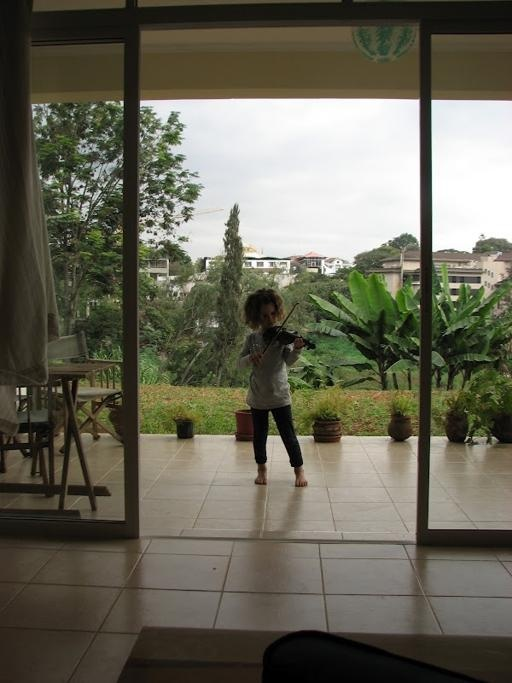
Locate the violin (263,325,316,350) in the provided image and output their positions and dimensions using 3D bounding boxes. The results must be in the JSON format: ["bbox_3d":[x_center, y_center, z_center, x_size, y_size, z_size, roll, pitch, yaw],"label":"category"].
[{"bbox_3d":[0.215,-0.025,3.501,0.308,0.147,0.229,0,0,19],"label":"violin"}]

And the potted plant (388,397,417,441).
[{"bbox_3d":[1.444,0.772,5.374,0.241,0.429,0.292,0,-1,13],"label":"potted plant"}]

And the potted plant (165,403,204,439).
[{"bbox_3d":[-0.705,0.803,5.354,0.306,0.322,0.224,0,-1,-6],"label":"potted plant"}]

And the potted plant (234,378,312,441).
[{"bbox_3d":[-0.044,0.701,5.501,0.609,0.440,0.566,0,5,-45],"label":"potted plant"}]

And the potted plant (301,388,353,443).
[{"bbox_3d":[0.731,0.760,5.356,0.355,0.496,0.443,14,-15,-40],"label":"potted plant"}]

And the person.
[{"bbox_3d":[0.120,0.327,3.595,0.440,1.360,0.466,0,-1,4],"label":"person"}]
